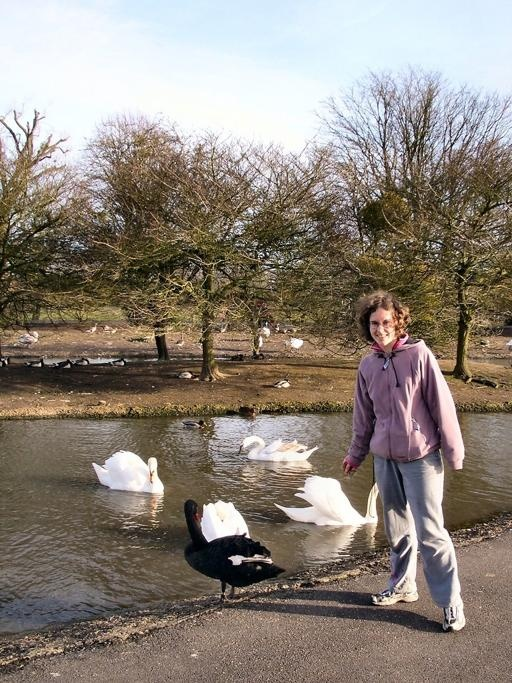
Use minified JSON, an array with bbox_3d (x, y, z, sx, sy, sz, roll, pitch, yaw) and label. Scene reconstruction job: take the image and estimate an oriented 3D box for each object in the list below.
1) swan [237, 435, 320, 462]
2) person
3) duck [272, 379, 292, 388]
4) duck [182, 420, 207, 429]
[{"bbox_3d":[0.392,2.003,13.225,1.633,0.454,1.497,-1,3,1],"label":"swan"},{"bbox_3d":[1.148,0.877,5.175,0.815,2.414,1.077,6,-7,-45],"label":"person"},{"bbox_3d":[0.837,1.454,22.751,0.616,0.286,0.688,-5,0,1],"label":"duck"},{"bbox_3d":[-1.462,2.017,16.247,0.639,0.203,0.368,6,-9,-32],"label":"duck"}]
